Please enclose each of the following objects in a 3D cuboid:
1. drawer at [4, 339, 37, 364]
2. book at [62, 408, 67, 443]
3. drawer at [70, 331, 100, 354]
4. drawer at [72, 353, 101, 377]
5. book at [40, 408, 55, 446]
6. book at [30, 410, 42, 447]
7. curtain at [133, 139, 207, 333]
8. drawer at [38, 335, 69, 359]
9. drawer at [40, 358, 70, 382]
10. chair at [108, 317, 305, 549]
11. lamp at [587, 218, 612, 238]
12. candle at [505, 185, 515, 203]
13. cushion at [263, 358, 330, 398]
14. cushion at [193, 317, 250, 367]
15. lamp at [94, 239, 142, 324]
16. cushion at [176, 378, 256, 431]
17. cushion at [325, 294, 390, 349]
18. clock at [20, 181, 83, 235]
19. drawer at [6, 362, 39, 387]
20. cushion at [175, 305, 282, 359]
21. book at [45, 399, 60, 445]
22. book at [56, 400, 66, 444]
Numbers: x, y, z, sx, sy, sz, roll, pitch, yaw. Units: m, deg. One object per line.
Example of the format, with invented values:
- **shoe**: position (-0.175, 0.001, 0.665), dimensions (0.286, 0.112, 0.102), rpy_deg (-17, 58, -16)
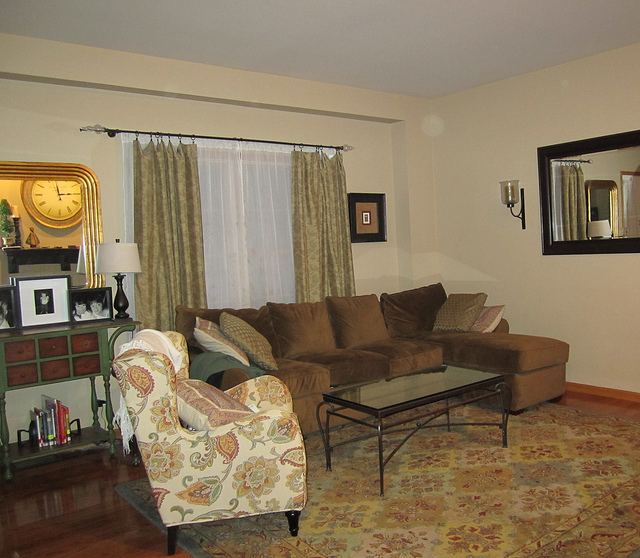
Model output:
- **drawer**: position (-2.018, 0.487, 3.512), dimensions (0.223, 0.145, 0.124), rpy_deg (-1, -1, -45)
- **book**: position (-1.860, 1.070, 3.788), dimensions (0.024, 0.237, 0.066), rpy_deg (-5, 4, -23)
- **drawer**: position (-1.698, 0.440, 3.772), dimensions (0.208, 0.135, 0.131), rpy_deg (-2, -1, -45)
- **drawer**: position (-1.691, 0.626, 3.773), dimensions (0.229, 0.147, 0.127), rpy_deg (-1, -3, -44)
- **book**: position (-1.943, 1.077, 3.746), dimensions (0.052, 0.187, 0.187), rpy_deg (-10, -1, -8)
- **book**: position (-2.042, 1.094, 3.753), dimensions (0.028, 0.223, 0.247), rpy_deg (-9, 0, -22)
- **curtain**: position (-1.309, -0.377, 4.469), dimensions (0.634, 1.627, 0.221), rpy_deg (-5, 4, -23)
- **drawer**: position (-1.861, 0.480, 3.644), dimensions (0.224, 0.135, 0.124), rpy_deg (-1, -2, -45)
- **drawer**: position (-1.849, 0.645, 3.650), dimensions (0.155, 0.129, 0.036), rpy_deg (-4, 6, -41)
- **chair**: position (-0.624, 0.752, 3.090), dimensions (1.249, 1.239, 0.951), rpy_deg (0, 7, -15)
- **lamp**: position (2.543, -0.464, 4.778), dimensions (0.155, 0.110, 0.157), rpy_deg (4, 10, 37)
- **candle**: position (1.852, -0.834, 5.105), dimensions (0.090, 0.159, 0.020), rpy_deg (-3, 4, 10)
- **cushion**: position (-0.155, 0.754, 3.998), dimensions (0.288, 0.117, 0.304), rpy_deg (-2, 3, -41)
- **cushion**: position (-0.732, 0.470, 3.824), dimensions (0.413, 0.343, 0.231), rpy_deg (-3, 4, 6)
- **lamp**: position (-1.541, 0.004, 4.010), dimensions (0.351, 0.631, 0.358), rpy_deg (-1, -6, 33)
- **cushion**: position (-0.499, 0.678, 2.646), dimensions (0.417, 0.243, 0.118), rpy_deg (-14, 35, -12)
- **cushion**: position (0.342, 0.393, 4.989), dimensions (0.565, 0.497, 0.157), rpy_deg (-9, -17, -36)
- **clock**: position (-2.040, -0.650, 4.085), dimensions (0.507, 0.473, 0.043), rpy_deg (2, 3, 3)
- **drawer**: position (-2.012, 0.643, 3.542), dimensions (0.127, 0.150, 0.239), rpy_deg (-2, 1, 44)
- **cushion**: position (-0.696, 0.472, 4.201), dimensions (0.669, 0.194, 0.662), rpy_deg (25, 16, -25)
- **book**: position (-1.927, 1.059, 3.763), dimensions (0.040, 0.331, 0.298), rpy_deg (-9, 5, -26)
- **book**: position (-1.876, 1.056, 3.784), dimensions (0.053, 0.211, 0.213), rpy_deg (-4, 11, -22)
